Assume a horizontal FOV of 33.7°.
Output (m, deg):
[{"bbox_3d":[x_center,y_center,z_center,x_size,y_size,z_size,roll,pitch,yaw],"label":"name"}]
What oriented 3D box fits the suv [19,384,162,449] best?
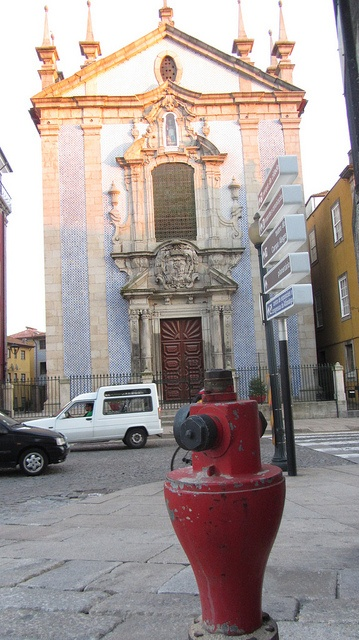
[{"bbox_3d":[-2.046,2.686,16.545,2.919,1.523,1.813,2,-11,-4],"label":"suv"}]
